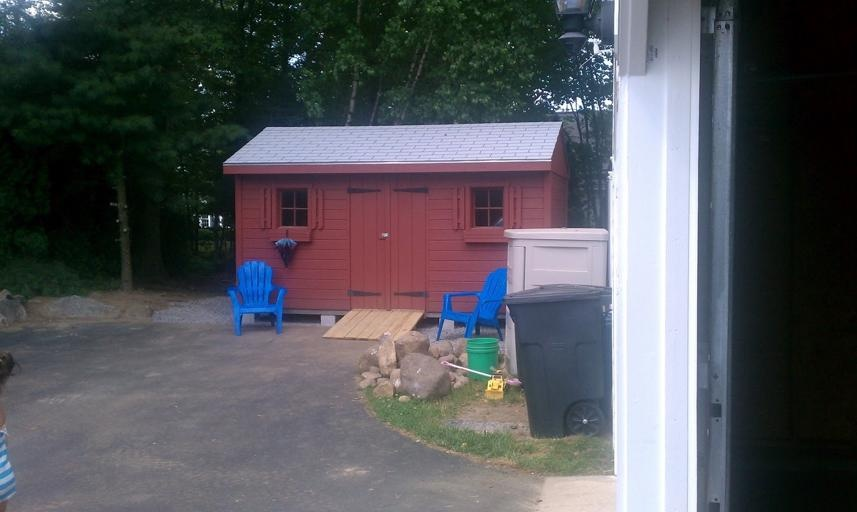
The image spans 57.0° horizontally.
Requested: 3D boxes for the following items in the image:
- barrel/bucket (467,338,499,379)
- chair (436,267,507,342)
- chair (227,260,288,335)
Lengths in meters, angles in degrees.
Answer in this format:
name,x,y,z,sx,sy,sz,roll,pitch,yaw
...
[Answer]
name,x,y,z,sx,sy,sz,roll,pitch,yaw
barrel/bucket,0.800,1.448,11.488,0.547,0.505,0.523,-4,5,0
chair,0.806,0.807,13.664,1.401,1.076,1.284,0,5,14
chair,-3.347,0.801,15.398,1.098,1.342,1.059,0,6,-10
